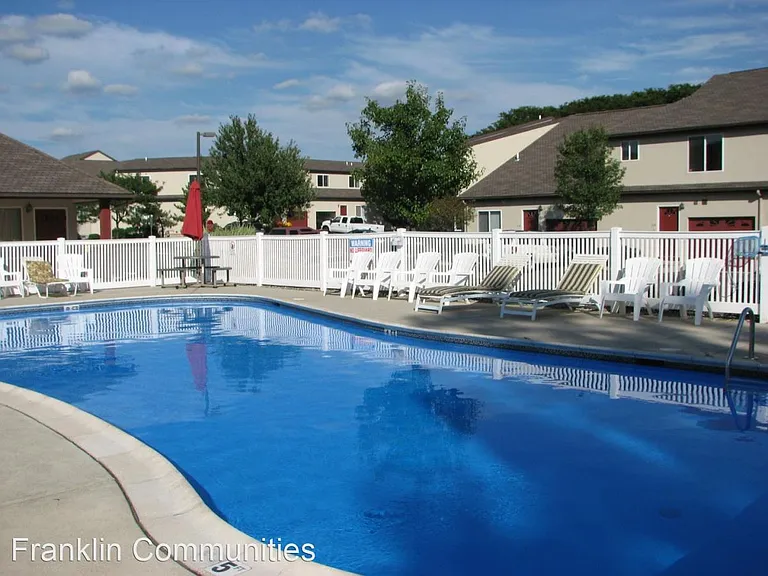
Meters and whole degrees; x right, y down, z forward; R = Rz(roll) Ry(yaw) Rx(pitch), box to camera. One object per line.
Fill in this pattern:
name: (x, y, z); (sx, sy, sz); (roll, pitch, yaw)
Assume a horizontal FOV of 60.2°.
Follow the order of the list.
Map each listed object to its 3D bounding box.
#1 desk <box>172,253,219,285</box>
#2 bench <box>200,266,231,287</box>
desk: (-6.533, -0.755, 22.980); (1.321, 0.895, 1.343); (-1, 2, -23)
bench: (-5.894, -0.473, 23.199); (0.872, 0.672, 0.864); (-2, 4, -40)
